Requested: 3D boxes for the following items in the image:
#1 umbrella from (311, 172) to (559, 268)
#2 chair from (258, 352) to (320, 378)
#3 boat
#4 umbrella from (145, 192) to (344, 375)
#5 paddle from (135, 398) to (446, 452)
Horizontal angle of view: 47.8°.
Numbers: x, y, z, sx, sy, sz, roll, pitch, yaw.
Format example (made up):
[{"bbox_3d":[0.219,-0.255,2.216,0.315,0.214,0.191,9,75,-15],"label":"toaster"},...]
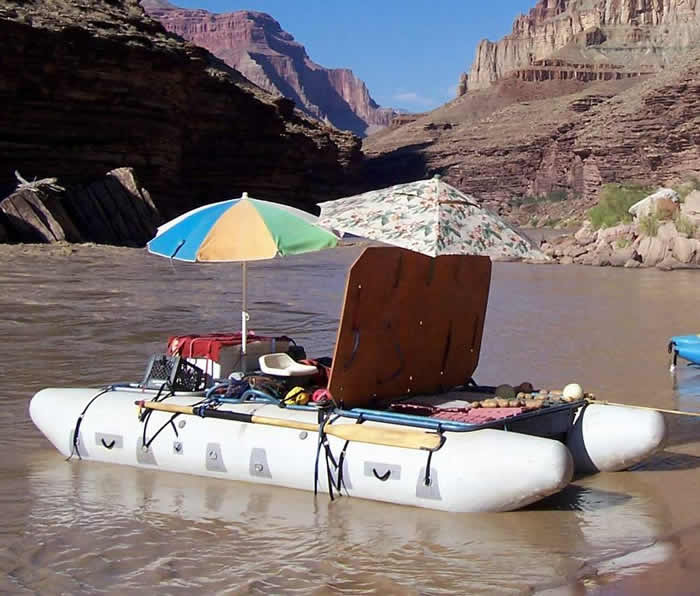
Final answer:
[{"bbox_3d":[0.701,-0.676,6.601,1.838,0.680,1.238,1,8,-8],"label":"umbrella"},{"bbox_3d":[-0.575,0.606,6.908,0.345,0.104,0.347,-7,-6,32],"label":"chair"},{"bbox_3d":[-0.359,1.161,6.418,3.669,0.407,1.812,0,-1,22],"label":"boat"},{"bbox_3d":[-1.023,-0.400,7.594,1.517,0.991,1.343,-19,30,-40],"label":"umbrella"},{"bbox_3d":[-0.549,0.987,6.233,2.555,0.181,0.120,3,20,21],"label":"paddle"}]
